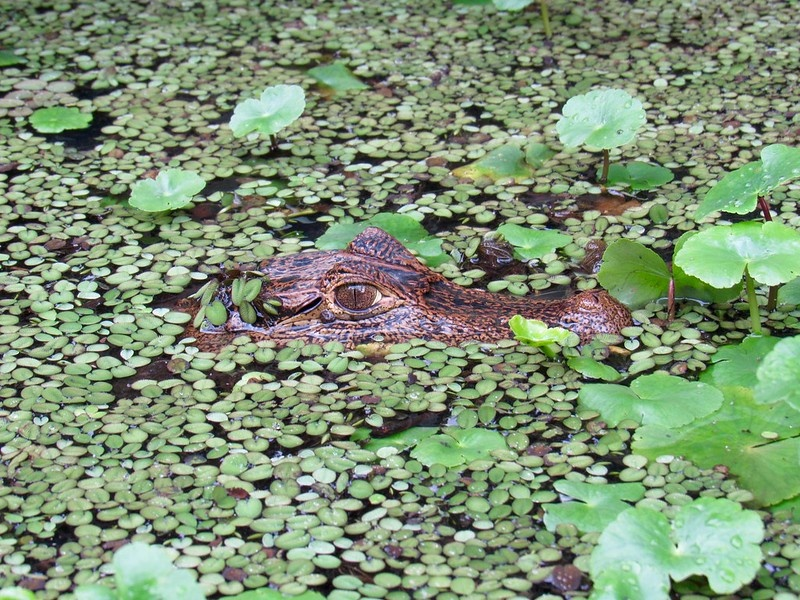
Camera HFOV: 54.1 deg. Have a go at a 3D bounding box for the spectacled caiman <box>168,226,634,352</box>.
[{"bbox_3d":[-0.618,-0.076,5.516,4.426,0.638,0.850,-1,23,5],"label":"spectacled caiman"}]
